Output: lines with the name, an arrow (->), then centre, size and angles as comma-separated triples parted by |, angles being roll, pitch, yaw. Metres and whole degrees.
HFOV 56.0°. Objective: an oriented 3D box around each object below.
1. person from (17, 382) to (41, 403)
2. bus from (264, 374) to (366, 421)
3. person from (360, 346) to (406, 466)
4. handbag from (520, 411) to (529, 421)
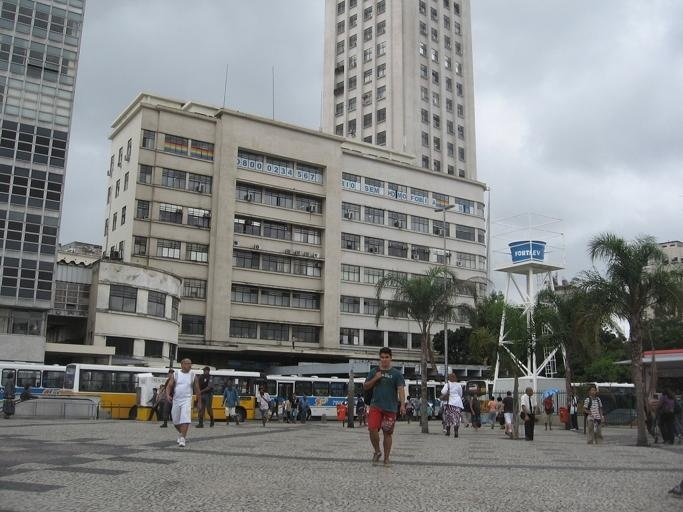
person -> -15.984, 6.964, 32.716 | 0.834, 0.577, 1.070 | -4, -16, -4
bus -> -1.832, 9.673, 44.780 | 8.476, 2.638, 2.916 | 9, -17, -24
person -> 0.870, 2.991, 12.803 | 0.867, 2.248, 0.935 | -7, -15, 29
handbag -> 6.900, 6.049, 24.286 | 0.204, 0.297, 0.693 | 2, -14, -4
